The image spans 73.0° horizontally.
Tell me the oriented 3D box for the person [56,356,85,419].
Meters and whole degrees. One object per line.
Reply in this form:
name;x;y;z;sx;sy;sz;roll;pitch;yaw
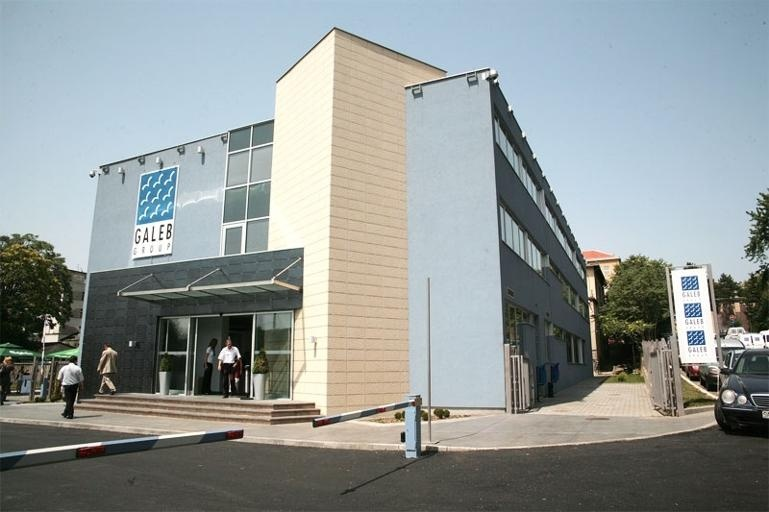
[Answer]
person;-11.280;4.769;18.657;0.693;1.999;0.950;8;-17;-31

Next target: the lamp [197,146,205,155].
lamp;-8.775;-5.070;24.960;0.314;0.430;0.366;-1;-5;32

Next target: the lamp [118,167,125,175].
lamp;-13.627;-4.410;26.959;0.248;0.332;0.433;-2;-12;2

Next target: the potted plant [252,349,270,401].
potted plant;-4.750;4.532;19.902;0.602;1.850;0.905;1;-15;-11

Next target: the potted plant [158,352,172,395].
potted plant;-9.552;5.106;22.693;0.515;1.806;1.207;5;-16;-23

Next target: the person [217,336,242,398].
person;-6.015;4.330;20.186;0.783;2.193;0.999;3;-16;-18

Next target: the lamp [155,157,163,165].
lamp;-11.311;-4.771;26.090;0.490;0.479;0.137;-6;-15;16
